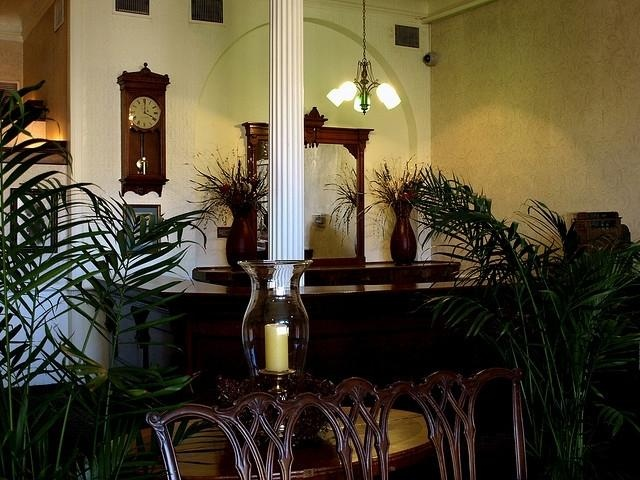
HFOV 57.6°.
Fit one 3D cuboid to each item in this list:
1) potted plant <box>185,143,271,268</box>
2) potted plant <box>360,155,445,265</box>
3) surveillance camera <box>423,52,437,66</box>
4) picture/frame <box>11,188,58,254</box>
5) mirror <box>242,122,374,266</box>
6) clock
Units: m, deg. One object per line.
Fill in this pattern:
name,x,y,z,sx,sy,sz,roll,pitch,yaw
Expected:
potted plant,-0.890,-0.366,6.148,0.782,1.263,1.274,0,-1,-23
potted plant,0.912,-0.317,6.698,0.767,1.028,0.649,1,-1,3
surveillance camera,1.478,-2.446,7.829,0.153,0.175,0.045,2,13,30
picture/frame,-1.106,-0.079,2.240,0.177,0.244,0.006,3,4,-2
mirror,-0.156,-0.499,6.151,1.558,2.111,0.283,1,-4,-30
clock,-1.903,-1.159,6.216,0.504,1.333,0.229,1,-2,-29
